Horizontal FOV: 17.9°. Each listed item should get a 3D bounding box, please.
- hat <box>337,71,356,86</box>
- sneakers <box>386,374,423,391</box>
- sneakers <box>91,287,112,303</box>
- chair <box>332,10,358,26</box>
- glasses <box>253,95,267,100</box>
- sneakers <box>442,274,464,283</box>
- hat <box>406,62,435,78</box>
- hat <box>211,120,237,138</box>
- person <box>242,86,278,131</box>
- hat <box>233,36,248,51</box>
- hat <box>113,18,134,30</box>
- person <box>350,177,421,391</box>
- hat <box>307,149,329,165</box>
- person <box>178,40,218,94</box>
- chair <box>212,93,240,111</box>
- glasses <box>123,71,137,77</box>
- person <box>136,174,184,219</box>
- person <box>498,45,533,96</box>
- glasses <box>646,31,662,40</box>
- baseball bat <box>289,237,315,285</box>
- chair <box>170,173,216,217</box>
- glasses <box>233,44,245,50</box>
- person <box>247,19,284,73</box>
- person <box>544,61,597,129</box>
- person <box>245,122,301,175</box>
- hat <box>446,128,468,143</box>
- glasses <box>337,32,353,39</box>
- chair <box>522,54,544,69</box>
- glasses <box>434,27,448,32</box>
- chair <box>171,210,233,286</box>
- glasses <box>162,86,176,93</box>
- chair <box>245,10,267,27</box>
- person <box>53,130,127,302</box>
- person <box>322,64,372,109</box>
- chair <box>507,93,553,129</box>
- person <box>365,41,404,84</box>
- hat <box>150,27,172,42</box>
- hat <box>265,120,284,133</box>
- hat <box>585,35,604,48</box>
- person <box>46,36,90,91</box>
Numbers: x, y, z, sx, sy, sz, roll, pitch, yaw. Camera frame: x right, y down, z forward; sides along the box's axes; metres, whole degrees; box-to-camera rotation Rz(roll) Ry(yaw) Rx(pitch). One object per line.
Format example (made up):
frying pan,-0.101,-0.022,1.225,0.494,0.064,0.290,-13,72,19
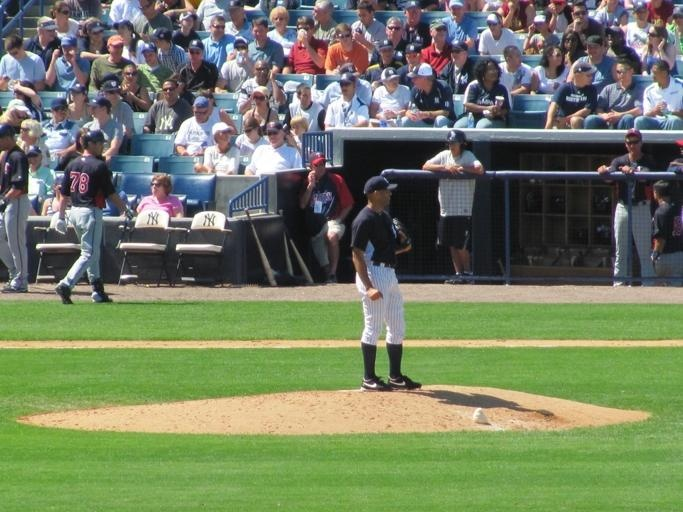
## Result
hat,0.097,-3.122,37.639,0.280,0.191,0.526,-2,-1,0
sneakers,0.869,1.741,29.952,0.470,0.217,0.182,1,0,0
sneakers,-3.783,0.603,34.216,0.390,0.273,0.131,-5,13,-21
chair,0.049,-4.536,40.623,0.533,0.386,0.295,0,1,0
glasses,-1.396,-2.780,37.353,0.226,0.068,0.136,-2,-1,-5
sneakers,1.846,0.353,36.608,0.391,0.172,0.132,3,-1,-14
hat,1.322,-3.227,37.229,0.379,0.217,0.254,6,11,14
hat,-2.053,-2.223,37.015,0.232,0.186,0.353,-2,-4,-26
person,-1.321,-2.712,37.520,0.382,0.285,0.915,-9,-48,31
hat,-1.797,-3.845,38.875,0.182,0.262,0.256,0,10,1
hat,-4.028,-4.338,40.367,0.387,0.142,0.409,-2,-1,-2
person,0.533,0.356,29.787,0.577,2.290,0.830,-2,-1,43
hat,-0.434,-1.716,37.096,0.261,0.211,0.426,-9,4,-11
person,-2.599,-3.384,38.881,0.755,1.025,0.596,5,14,14
chair,-2.031,-2.822,38.860,0.519,0.378,0.286,3,8,19
glasses,-3.715,-3.280,38.550,0.252,0.073,0.222,-1,-1,-19
person,-3.062,-1.003,36.445,0.823,0.758,0.470,0,2,17
person,2.953,-3.208,37.876,0.757,0.931,0.528,-11,25,-22
glasses,5.411,-3.903,37.752,0.258,0.195,0.175,-2,-1,14
baseball bat,-0.682,0.066,37.233,0.130,0.880,0.114,-32,0,-10
chair,-2.435,-1.087,37.045,0.628,0.908,0.734,0,-2,2
glasses,-1.820,-3.796,38.881,0.247,0.075,0.230,-2,-1,10
person,-1.360,-3.836,39.142,0.824,1.222,0.881,-2,10,3
person,3.926,-2.388,37.096,0.877,2.026,1.128,-1,4,10
person,-1.166,-1.805,37.217,1.067,1.041,0.595,1,3,11
hat,1.885,-2.032,36.083,0.288,0.190,0.371,-2,-1,3
glasses,0.045,-3.979,38.669,0.243,0.090,0.197,-2,-1,8
chair,3.381,-3.551,38.908,0.360,0.263,0.203,-3,-42,3
glasses,1.753,-4.040,38.179,0.121,0.085,0.295,-2,-1,29
chair,-2.284,-0.171,36.000,0.918,0.887,0.619,-2,-1,-5
glasses,-3.040,-2.958,37.992,0.296,0.091,0.163,-2,-1,41
chair,-1.604,-4.616,41.116,0.436,0.328,0.424,-4,6,-28
person,-3.963,-0.656,34.047,1.027,1.931,0.832,-1,-1,-8
person,0.049,-3.036,38.166,0.826,0.695,0.438,14,-1,36
chair,3.261,-2.605,37.890,0.604,0.785,0.616,2,1,5
person,0.756,-3.537,38.639,0.523,0.452,0.878,-7,14,7
hat,-3.252,-4.079,39.492,0.278,0.159,0.208,6,17,27
hat,-1.134,-2.236,36.949,0.273,0.157,0.294,-2,-1,-3
hat,4.313,-3.731,37.270,0.225,0.181,0.168,-11,9,25
person,-4.964,-3.535,39.704,0.650,1.574,0.580,-11,-43,1
